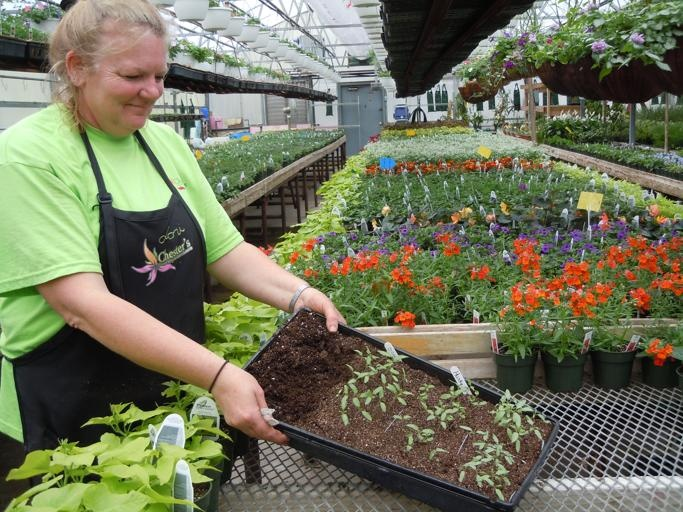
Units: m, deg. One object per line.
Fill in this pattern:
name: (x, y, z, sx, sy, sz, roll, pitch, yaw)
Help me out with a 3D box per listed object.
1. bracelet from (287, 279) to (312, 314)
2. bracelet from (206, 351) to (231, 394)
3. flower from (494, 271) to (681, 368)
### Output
bracelet: (-0.175, 0.158, 1.834, 0.025, 0.097, 0.104, 29, 8, 9)
bracelet: (-0.353, 0.343, 1.369, 0.023, 0.081, 0.087, 26, 4, 27)
flower: (1.100, 0.274, 2.306, 0.550, 0.308, 0.539, 5, 33, 14)
